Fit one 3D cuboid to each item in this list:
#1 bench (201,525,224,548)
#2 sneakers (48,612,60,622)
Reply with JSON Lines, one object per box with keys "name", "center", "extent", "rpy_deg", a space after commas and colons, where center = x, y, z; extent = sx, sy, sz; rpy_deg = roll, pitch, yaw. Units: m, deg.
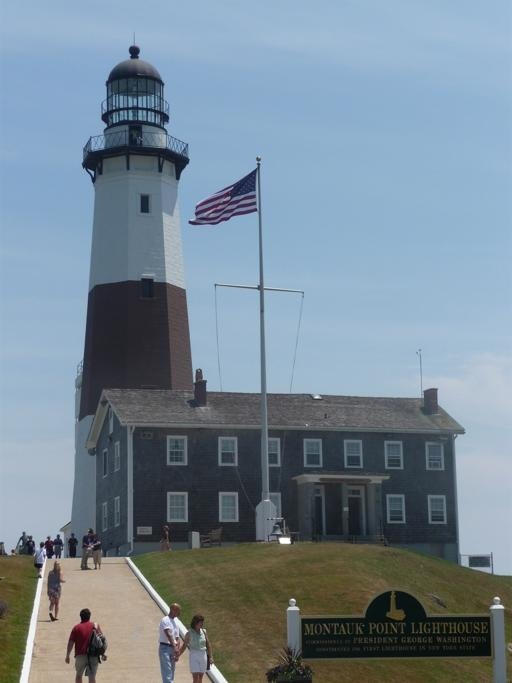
{"name": "bench", "center": [-1.746, 8.006, 39.536], "extent": [0.784, 1.338, 0.764], "rpy_deg": [-2, -5, 38]}
{"name": "sneakers", "center": [-4.507, 6.171, 21.754], "extent": [0.278, 0.265, 0.112], "rpy_deg": [0, 0, -17]}
